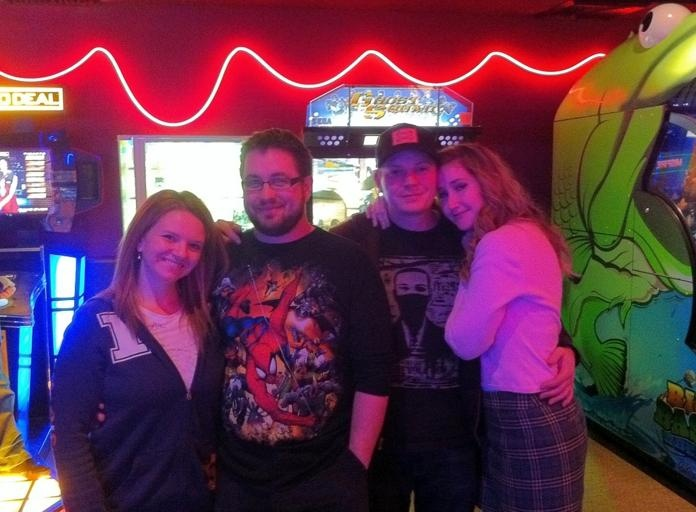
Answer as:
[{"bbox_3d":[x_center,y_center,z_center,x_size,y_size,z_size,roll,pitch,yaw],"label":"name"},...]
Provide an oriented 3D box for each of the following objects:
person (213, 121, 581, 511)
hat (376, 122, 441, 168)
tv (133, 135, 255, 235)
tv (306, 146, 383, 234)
[{"bbox_3d":[0.603,0.215,3.574,1.597,2.081,0.749,-3,-3,7],"label":"person"},{"bbox_3d":[0.296,-0.579,3.078,0.309,0.201,0.403,0,-1,2],"label":"hat"},{"bbox_3d":[-1.116,-0.547,4.081,0.952,0.861,0.329,1,8,-2],"label":"tv"},{"bbox_3d":[0.044,-0.570,4.942,0.746,0.945,0.483,-1,7,-7],"label":"tv"}]
